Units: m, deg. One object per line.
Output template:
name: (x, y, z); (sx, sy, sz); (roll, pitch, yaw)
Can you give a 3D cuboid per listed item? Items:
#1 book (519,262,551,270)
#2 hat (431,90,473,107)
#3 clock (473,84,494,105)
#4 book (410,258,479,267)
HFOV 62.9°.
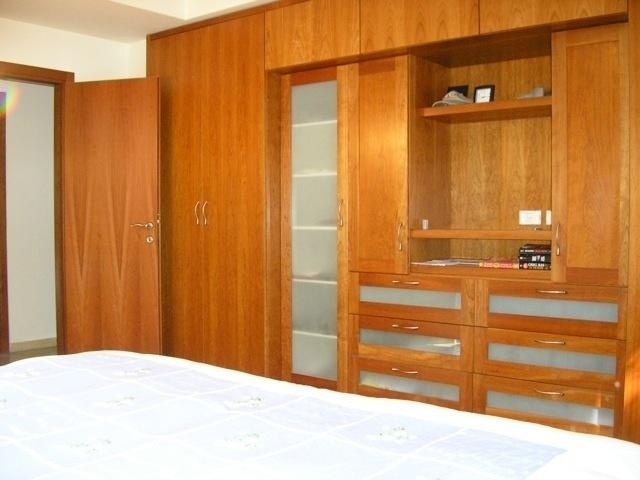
book: (1.231, 0.148, 3.000); (0.160, 0.043, 0.012); (2, 3, 28)
hat: (0.849, -0.888, 3.344); (0.129, 0.055, 0.178); (10, 15, 41)
clock: (1.054, -0.939, 3.355); (0.131, 0.135, 0.201); (1, 3, 17)
book: (0.872, 0.145, 3.401); (0.425, 0.037, 0.359); (3, 4, 33)
